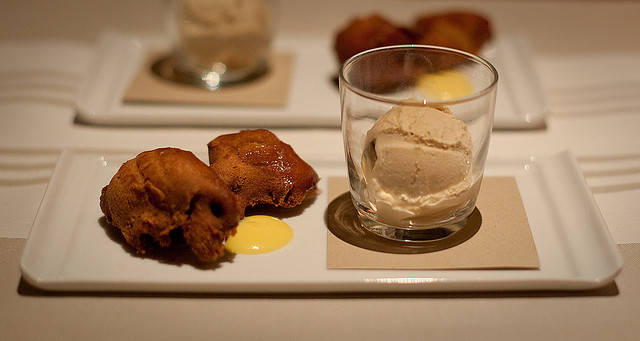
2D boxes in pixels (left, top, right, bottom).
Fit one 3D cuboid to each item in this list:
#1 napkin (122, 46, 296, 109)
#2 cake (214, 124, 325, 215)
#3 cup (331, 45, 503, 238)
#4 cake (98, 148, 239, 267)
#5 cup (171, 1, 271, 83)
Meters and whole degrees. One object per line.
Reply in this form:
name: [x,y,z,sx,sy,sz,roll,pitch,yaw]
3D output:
napkin: [-0.392,-0.301,1.597,0.603,0.595,0.018,-1,77,-8]
cake: [-0.138,-0.050,1.277,0.352,0.092,0.279,4,54,6]
cup: [0.250,-0.070,1.226,0.407,0.387,0.388,-4,30,3]
cake: [-0.365,0.060,1.233,0.372,0.279,0.209,5,98,40]
cup: [-0.322,-0.396,1.670,0.307,0.287,0.275,-4,98,-33]
